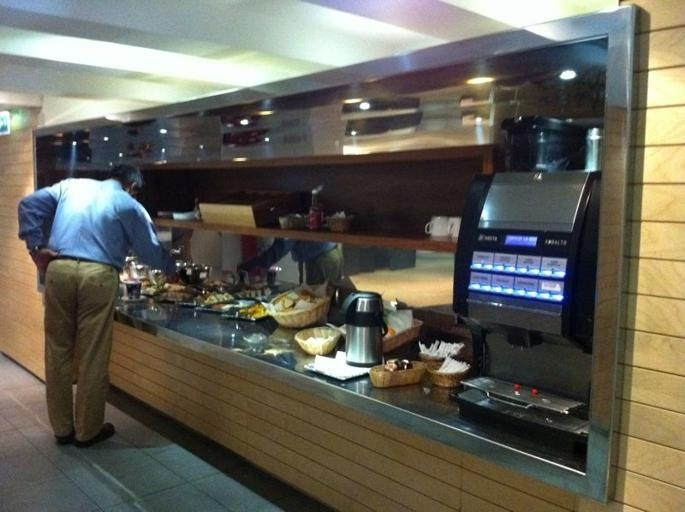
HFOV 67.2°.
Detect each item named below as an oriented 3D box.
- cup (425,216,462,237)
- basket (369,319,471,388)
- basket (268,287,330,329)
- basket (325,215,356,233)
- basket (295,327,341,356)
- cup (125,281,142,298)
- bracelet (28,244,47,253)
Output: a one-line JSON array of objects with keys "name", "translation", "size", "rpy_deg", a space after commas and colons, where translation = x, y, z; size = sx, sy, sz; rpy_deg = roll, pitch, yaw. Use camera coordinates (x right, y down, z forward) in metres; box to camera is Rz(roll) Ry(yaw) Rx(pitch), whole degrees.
[{"name": "cup", "translation": [0.565, -0.153, 2.912], "size": [0.178, 0.111, 0.105], "rpy_deg": [0, 2, 9]}, {"name": "basket", "translation": [0.414, 0.532, 2.743], "size": [0.471, 0.168, 0.606], "rpy_deg": [1, 9, 9]}, {"name": "basket", "translation": [-0.310, 0.355, 3.689], "size": [0.433, 0.245, 0.506], "rpy_deg": [-1, 9, -5]}, {"name": "basket", "translation": [-0.012, -0.216, 3.422], "size": [0.153, 0.118, 0.144], "rpy_deg": [-1, 9, -6]}, {"name": "basket", "translation": [-0.125, 0.500, 3.038], "size": [0.208, 0.076, 0.194], "rpy_deg": [-6, 8, -39]}, {"name": "cup", "translation": [-1.832, 0.300, 4.556], "size": [0.142, 0.140, 0.141], "rpy_deg": [2, -4, 0]}, {"name": "bracelet", "translation": [-2.330, -0.052, 3.944], "size": [0.095, 0.063, 0.091], "rpy_deg": [-1, 9, -26]}]
